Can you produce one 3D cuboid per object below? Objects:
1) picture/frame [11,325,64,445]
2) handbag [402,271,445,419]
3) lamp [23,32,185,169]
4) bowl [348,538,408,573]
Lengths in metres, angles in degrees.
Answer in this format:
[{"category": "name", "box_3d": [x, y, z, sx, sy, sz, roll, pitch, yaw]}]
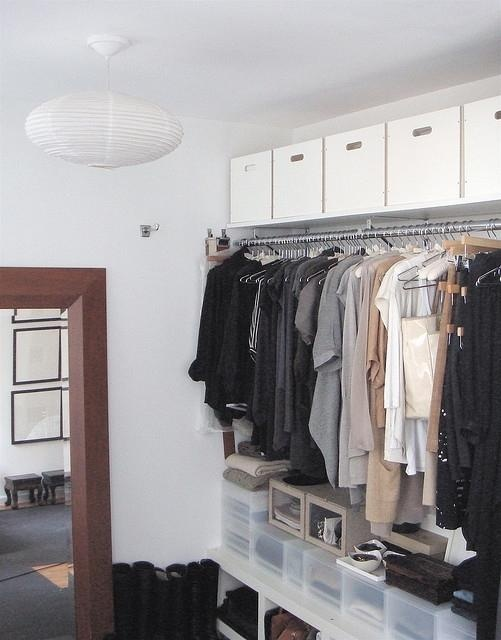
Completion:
[{"category": "picture/frame", "box_3d": [-0.950, 0.284, 2.674, 0.260, 0.570, 0.039, -3, 1, -40]}, {"category": "handbag", "box_3d": [0.546, 0.154, 1.919, 0.113, 0.306, 0.080, -3, 1, 13]}, {"category": "lamp", "box_3d": [-0.408, -0.535, 1.680, 0.337, 0.160, 0.343, -2, 1, 26]}, {"category": "bowl", "box_3d": [0.481, 0.937, 2.390, 0.131, 0.041, 0.127, -3, -2, 0]}]
